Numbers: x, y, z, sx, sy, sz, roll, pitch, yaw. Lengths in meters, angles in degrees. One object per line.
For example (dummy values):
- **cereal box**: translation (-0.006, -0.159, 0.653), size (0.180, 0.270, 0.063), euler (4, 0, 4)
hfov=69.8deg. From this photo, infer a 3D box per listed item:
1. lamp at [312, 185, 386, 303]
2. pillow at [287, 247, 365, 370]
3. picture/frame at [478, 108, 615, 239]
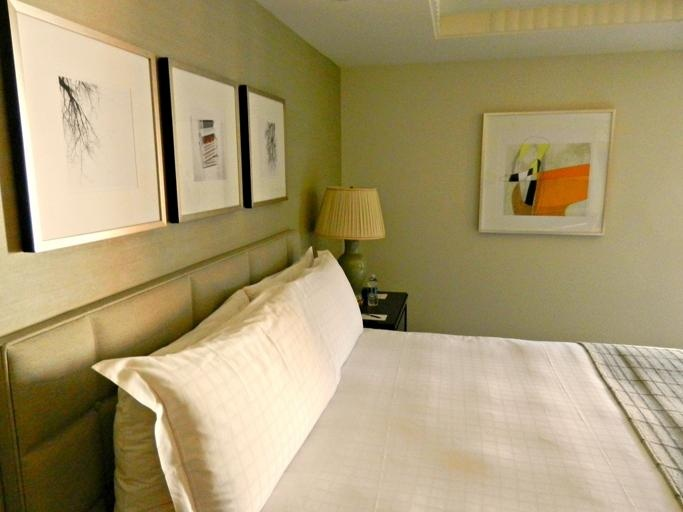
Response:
- **lamp**: translation (0.052, -0.064, 3.207), size (0.431, 0.733, 0.449), euler (5, 9, 35)
- **pillow**: translation (-0.078, 0.240, 2.234), size (0.097, 0.334, 0.496), euler (-21, 12, 14)
- **picture/frame**: translation (1.534, -0.643, 3.599), size (0.844, 0.948, 0.061), euler (2, 8, 10)
